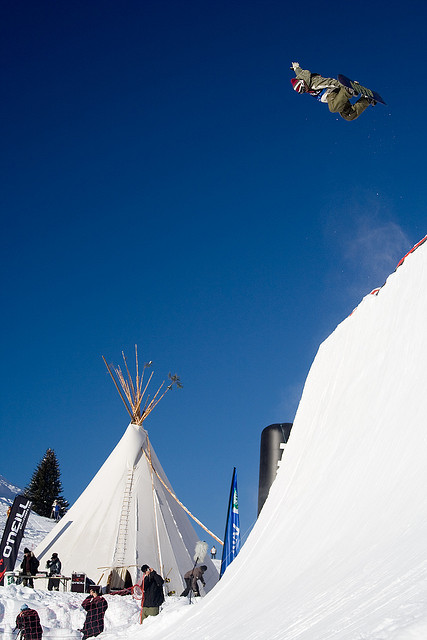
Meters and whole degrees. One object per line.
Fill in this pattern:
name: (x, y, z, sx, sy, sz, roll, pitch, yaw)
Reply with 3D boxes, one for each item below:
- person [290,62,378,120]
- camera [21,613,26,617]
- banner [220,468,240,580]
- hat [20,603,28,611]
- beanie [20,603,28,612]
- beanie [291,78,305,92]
person: (1.438, -2.700, 6.346, 1.043, 0.470, 1.101, 25, 17, 34)
camera: (-2.291, 3.564, 6.378, 0.053, 0.041, 0.024, 5, -30, -12)
banner: (0.386, 3.909, 10.383, 0.392, 0.309, 2.288, 3, -69, 4)
hat: (-2.458, 3.753, 6.860, 0.101, 0.060, 0.155, -1, -17, -10)
beanie: (-2.450, 3.701, 6.853, 0.069, 0.110, 0.100, 4, -40, -28)
beanie: (1.005, -2.827, 6.302, 0.101, 0.132, 0.091, 22, -38, -35)
